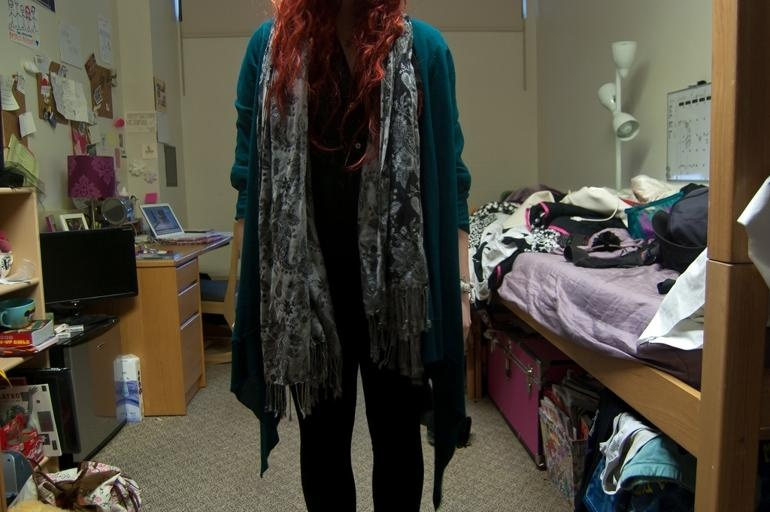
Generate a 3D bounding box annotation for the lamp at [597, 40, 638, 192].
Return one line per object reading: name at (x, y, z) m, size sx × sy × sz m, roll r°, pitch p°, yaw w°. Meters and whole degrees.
lamp at (1.483, -0.883, 3.639) m, size 0.255 × 0.920 × 0.547 m, roll 4°, pitch 13°, yaw 21°

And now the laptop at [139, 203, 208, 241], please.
laptop at (-1.538, -0.247, 4.179) m, size 0.336 × 0.237 × 0.375 m, roll 3°, pitch 10°, yaw 10°

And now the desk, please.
desk at (-1.298, 0.393, 3.647) m, size 0.695 × 0.999 × 1.031 m, roll -2°, pitch 13°, yaw -1°

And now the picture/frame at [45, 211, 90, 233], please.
picture/frame at (-1.872, -0.202, 3.348) m, size 0.041 × 0.132 × 0.130 m, roll -43°, pitch -13°, yaw 25°

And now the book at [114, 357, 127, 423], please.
book at (-1.421, 0.710, 3.063) m, size 0.038 × 0.385 × 0.067 m, roll 4°, pitch 13°, yaw 24°

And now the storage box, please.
storage box at (0.725, 0.690, 2.622) m, size 0.459 × 0.414 × 0.795 m, roll 2°, pitch 14°, yaw -9°

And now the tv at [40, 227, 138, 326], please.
tv at (-1.567, 0.098, 3.005) m, size 0.465 × 0.500 × 0.154 m, roll -4°, pitch -1°, yaw -31°
